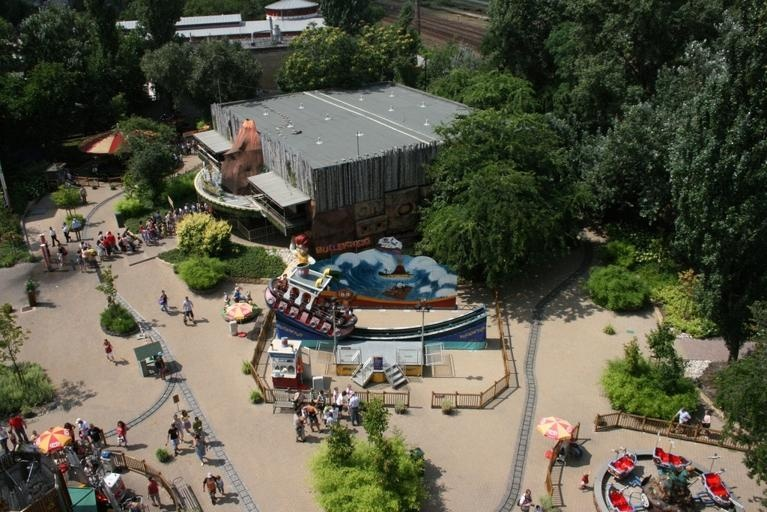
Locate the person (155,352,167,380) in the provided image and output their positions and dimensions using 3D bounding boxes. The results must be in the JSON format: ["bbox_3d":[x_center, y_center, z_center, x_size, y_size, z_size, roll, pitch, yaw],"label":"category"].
[{"bbox_3d":[-18.439,9.240,77.010,0.714,1.823,1.246,-21,38,-37],"label":"person"}]

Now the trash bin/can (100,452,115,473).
[{"bbox_3d":[-21.070,15.952,70.582,1.025,1.507,0.954,-8,17,-26],"label":"trash bin/can"}]

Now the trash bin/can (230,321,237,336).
[{"bbox_3d":[-13.003,6.363,80.471,0.621,1.262,0.623,-18,35,-36],"label":"trash bin/can"}]

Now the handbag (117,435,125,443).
[{"bbox_3d":[-20.510,14.467,72.387,0.472,0.760,0.378,-10,8,-15],"label":"handbag"}]

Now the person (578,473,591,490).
[{"bbox_3d":[15.361,17.085,69.937,0.745,1.067,1.026,9,31,7],"label":"person"}]
